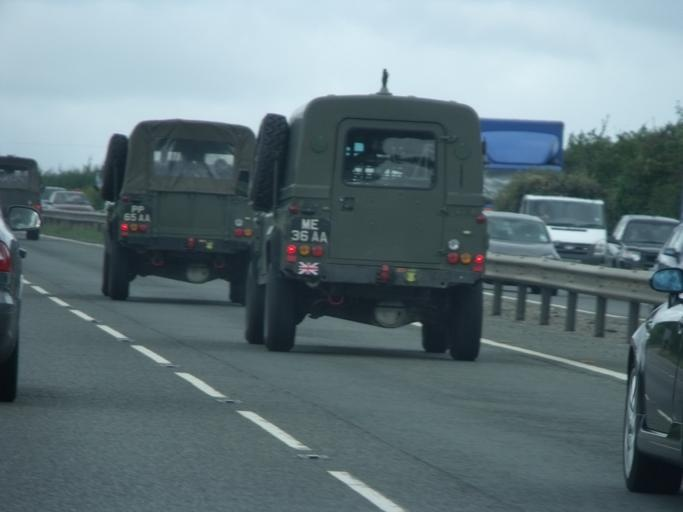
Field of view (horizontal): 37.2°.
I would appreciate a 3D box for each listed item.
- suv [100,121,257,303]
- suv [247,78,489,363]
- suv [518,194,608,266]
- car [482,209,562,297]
[{"bbox_3d":[-3.195,-0.877,20.275,2.875,3.673,1.524,3,5,-11],"label":"suv"},{"bbox_3d":[0.381,-0.471,13.350,3.003,3.611,1.595,3,4,-2],"label":"suv"},{"bbox_3d":[7.067,-0.878,31.141,1.623,1.742,3.035,1,-6,5],"label":"suv"},{"bbox_3d":[4.482,-0.565,26.064,1.792,1.876,3.388,1,-9,-3],"label":"car"}]
